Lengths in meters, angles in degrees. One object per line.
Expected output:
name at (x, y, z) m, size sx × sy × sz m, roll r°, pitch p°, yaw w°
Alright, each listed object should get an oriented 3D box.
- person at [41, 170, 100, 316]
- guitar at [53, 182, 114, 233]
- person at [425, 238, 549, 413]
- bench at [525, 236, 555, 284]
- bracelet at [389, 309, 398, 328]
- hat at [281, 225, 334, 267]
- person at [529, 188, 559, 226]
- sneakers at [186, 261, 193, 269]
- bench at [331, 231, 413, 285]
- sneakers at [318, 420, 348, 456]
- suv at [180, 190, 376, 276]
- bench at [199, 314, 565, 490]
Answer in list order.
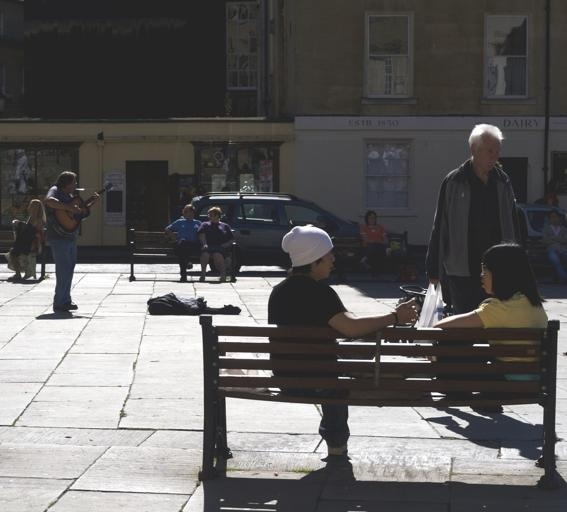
person at (-2.644, -0.181, 14.488) m, size 0.475 × 1.678 × 0.621 m, roll 1°, pitch 7°, yaw 0°
guitar at (-2.526, -0.617, 14.818) m, size 0.138 × 0.430 × 0.992 m, roll -22°, pitch 17°, yaw 42°
person at (1.527, 0.381, 8.702) m, size 0.852 × 1.283 × 0.689 m, roll 2°, pitch -13°, yaw 18°
bench at (3.978, 0.030, 18.235) m, size 0.164 × 0.637 × 0.686 m, roll -17°, pitch -1°, yaw 2°
bracelet at (0.755, 0.423, 7.874) m, size 0.047 × 0.090 × 0.064 m, roll 5°, pitch 5°, yaw -29°
hat at (0.167, -0.083, 8.080) m, size 0.319 × 0.261 × 0.251 m, roll -1°, pitch 15°, yaw 1°
person at (6.048, -1.141, 26.664) m, size 0.893 × 0.766 × 0.691 m, roll -8°, pitch 12°, yaw -15°
sneakers at (-1.544, 0.143, 19.894) m, size 0.131 × 0.132 × 0.074 m, roll 2°, pitch 8°, yaw 9°
bench at (1.617, -0.011, 21.476) m, size 1.245 × 0.842 × 0.779 m, roll 0°, pitch -1°, yaw -10°
sneakers at (0.372, 1.304, 8.302) m, size 0.213 × 0.213 × 0.180 m, roll -6°, pitch -4°, yaw 29°
suv at (-0.099, -0.447, 21.795) m, size 2.479 × 1.081 × 1.480 m, roll -2°, pitch 3°, yaw -5°
bench at (0.664, 0.951, 7.987) m, size 2.409 × 1.108 × 0.513 m, roll 1°, pitch 7°, yaw 4°
